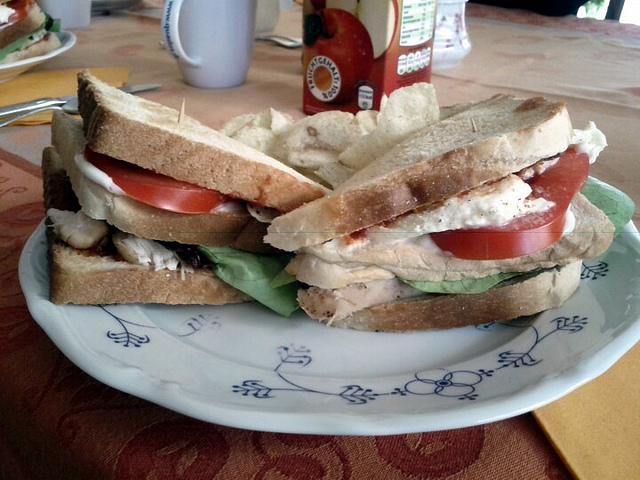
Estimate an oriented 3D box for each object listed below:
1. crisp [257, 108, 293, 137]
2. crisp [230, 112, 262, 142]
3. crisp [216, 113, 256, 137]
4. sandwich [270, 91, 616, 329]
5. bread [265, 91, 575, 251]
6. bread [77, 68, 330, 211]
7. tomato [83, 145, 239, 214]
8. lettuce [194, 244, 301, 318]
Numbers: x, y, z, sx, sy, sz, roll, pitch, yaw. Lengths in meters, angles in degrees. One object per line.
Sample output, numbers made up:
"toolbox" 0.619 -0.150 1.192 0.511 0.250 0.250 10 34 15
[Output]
"crisp" -0.134 -0.295 1.550 0.094 0.027 0.082 -19 60 -41
"crisp" -0.183 -0.283 1.511 0.086 0.020 0.073 -26 17 11
"crisp" -0.222 -0.306 1.580 0.131 0.026 0.100 -11 34 -4
"sandwich" 0.251 -0.065 1.284 0.706 0.474 0.364 2 41 -5
"bread" 0.242 -0.152 1.195 0.473 0.439 0.107 -24 90 -31
"bread" -0.337 -0.211 1.479 0.746 0.148 0.663 14 5 5
"tomato" -0.354 -0.111 1.273 0.328 0.116 0.112 6 40 2
"lettuce" -0.129 0.064 1.356 0.239 0.063 0.182 32 32 20
